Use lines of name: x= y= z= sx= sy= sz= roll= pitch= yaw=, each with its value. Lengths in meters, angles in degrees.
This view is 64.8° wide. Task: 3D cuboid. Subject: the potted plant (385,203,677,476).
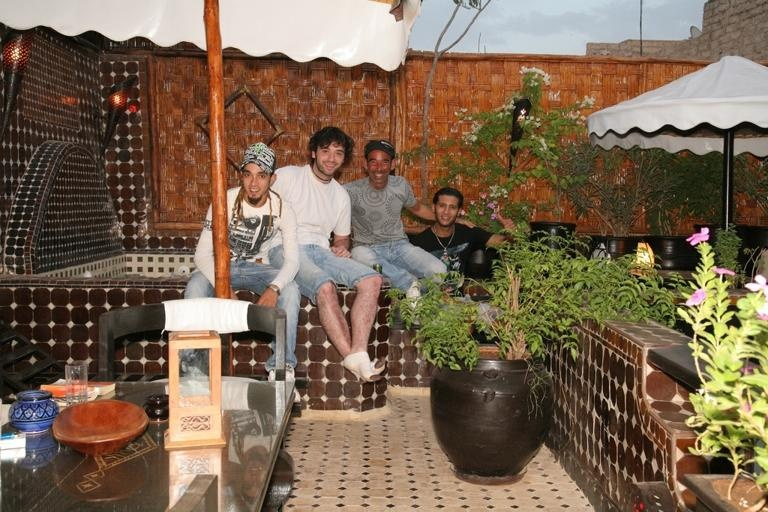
potted plant: x=0.940 y=0.572 z=4.455 sx=1.862 sy=1.691 sz=1.524 roll=2 pitch=2 yaw=-8

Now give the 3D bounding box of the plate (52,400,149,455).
plate: x=-1.276 y=0.748 z=2.687 sx=0.249 sy=0.072 sz=0.259 roll=1 pitch=27 yaw=-10

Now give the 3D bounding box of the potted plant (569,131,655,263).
potted plant: x=2.799 y=-0.793 z=7.668 sx=1.350 sy=1.661 sz=1.256 roll=0 pitch=10 yaw=12

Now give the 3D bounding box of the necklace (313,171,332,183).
necklace: x=-0.577 y=-0.722 z=5.579 sx=0.103 sy=0.033 sz=0.114 roll=16 pitch=-7 yaw=5

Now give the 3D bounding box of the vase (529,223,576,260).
vase: x=1.430 y=-0.132 z=5.131 sx=0.277 sy=0.321 sz=0.292 roll=-1 pitch=10 yaw=1

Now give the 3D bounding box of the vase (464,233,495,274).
vase: x=0.969 y=-0.009 z=6.111 sx=0.271 sy=0.439 sz=0.162 roll=8 pitch=15 yaw=5

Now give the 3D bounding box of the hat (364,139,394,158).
hat: x=-0.058 y=-1.061 z=6.004 sx=0.287 sy=0.158 sz=0.415 roll=7 pitch=8 yaw=-2

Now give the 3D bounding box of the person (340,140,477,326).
person: x=0.167 y=-0.299 z=6.195 sx=1.698 sy=1.205 sz=1.322 roll=-18 pitch=42 yaw=-32

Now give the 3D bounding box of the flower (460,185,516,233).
flower: x=1.168 y=-0.602 z=6.937 sx=0.570 sy=0.433 sz=0.625 roll=1 pitch=50 yaw=1

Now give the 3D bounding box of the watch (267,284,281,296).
watch: x=-0.865 y=0.261 z=4.677 sx=0.073 sy=0.056 sz=0.076 roll=2 pitch=5 yaw=-8

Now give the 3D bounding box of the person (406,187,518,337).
person: x=0.632 y=0.024 z=5.902 sx=1.378 sy=1.394 sz=0.815 roll=1 pitch=-3 yaw=-3

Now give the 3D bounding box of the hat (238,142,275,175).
hat: x=-1.036 y=-0.845 z=4.929 sx=0.304 sy=0.143 sz=0.440 roll=-14 pitch=-2 yaw=-19

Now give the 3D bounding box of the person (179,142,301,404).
person: x=-1.028 y=0.107 z=4.793 sx=1.024 sy=1.884 sz=1.194 roll=9 pitch=16 yaw=11
